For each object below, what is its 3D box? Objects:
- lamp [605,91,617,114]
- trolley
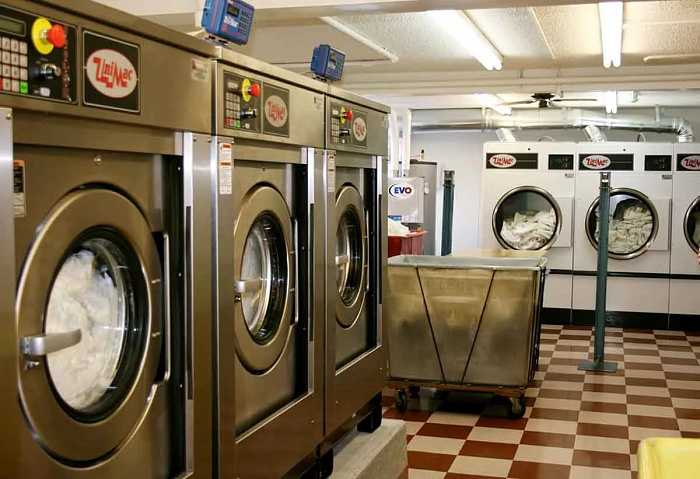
[{"bbox_3d":[4.003,-2.115,8.364,0.158,0.156,1.692,2,6,26],"label":"lamp"},{"bbox_3d":[1.103,0.720,5.039,1.257,1.327,1.331,0,2,15],"label":"trolley"}]
